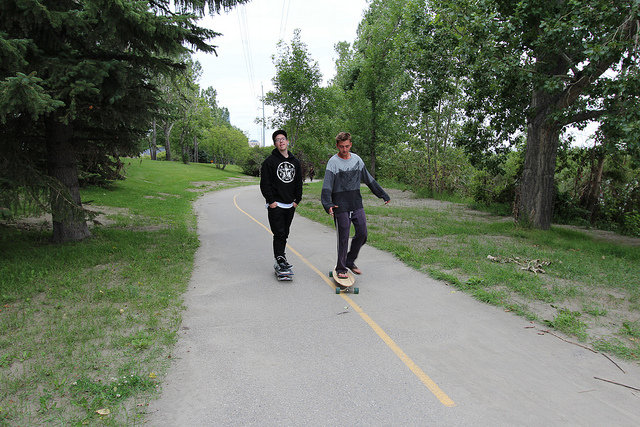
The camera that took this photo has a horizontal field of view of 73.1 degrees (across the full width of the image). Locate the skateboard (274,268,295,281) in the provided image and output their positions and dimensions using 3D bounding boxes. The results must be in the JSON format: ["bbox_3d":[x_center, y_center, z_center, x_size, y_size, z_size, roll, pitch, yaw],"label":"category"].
[{"bbox_3d":[-0.851,1.459,10.411,0.504,0.248,0.189,15,-11,-7],"label":"skateboard"}]

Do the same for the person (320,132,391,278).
[{"bbox_3d":[0.702,-0.168,10.180,1.343,3.440,0.803,-1,10,-9],"label":"person"}]
